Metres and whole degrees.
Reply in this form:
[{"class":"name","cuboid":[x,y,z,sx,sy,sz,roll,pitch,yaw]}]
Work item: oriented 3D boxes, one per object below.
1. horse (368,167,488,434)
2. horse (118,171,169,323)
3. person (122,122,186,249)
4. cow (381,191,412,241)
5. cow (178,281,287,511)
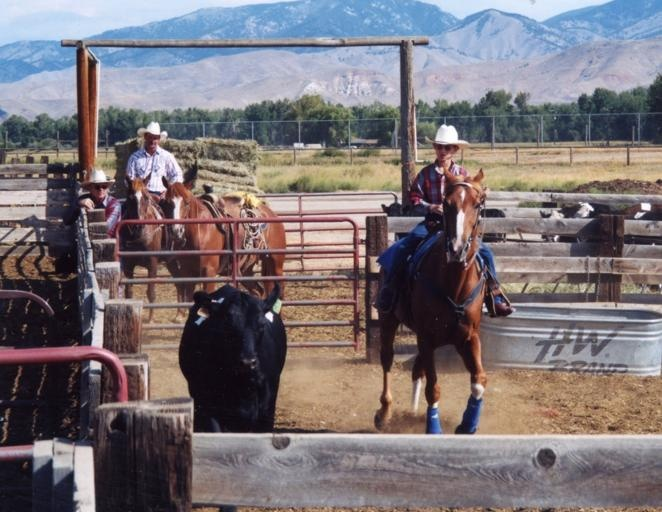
[{"class":"horse","cuboid":[1.272,0.595,13.152,0.872,3.276,1.479,-5,10,-34]},{"class":"horse","cuboid":[-2.891,-0.553,16.576,0.522,1.693,2.119,1,15,-8]},{"class":"person","cuboid":[-2.826,-1.451,17.144,0.782,1.362,0.690,2,-3,-20]},{"class":"cow","cuboid":[1.133,-0.699,17.345,0.265,0.677,1.083,-2,-2,-6]},{"class":"cow","cuboid":[-1.055,1.106,11.637,1.108,1.594,0.645,-1,8,-9]}]
